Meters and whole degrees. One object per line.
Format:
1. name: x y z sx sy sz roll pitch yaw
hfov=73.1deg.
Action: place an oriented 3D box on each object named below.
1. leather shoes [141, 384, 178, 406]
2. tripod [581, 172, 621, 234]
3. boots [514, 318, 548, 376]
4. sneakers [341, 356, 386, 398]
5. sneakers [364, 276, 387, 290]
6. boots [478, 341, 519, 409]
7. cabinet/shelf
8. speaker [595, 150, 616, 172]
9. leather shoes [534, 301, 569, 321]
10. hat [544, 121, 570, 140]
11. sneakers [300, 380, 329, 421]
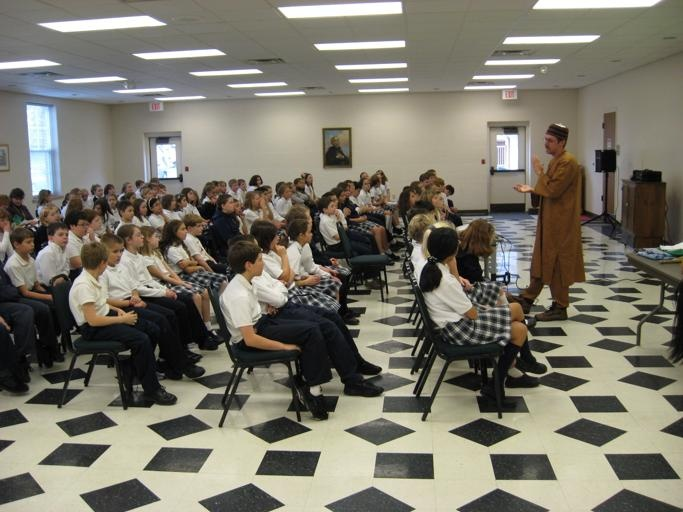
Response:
1. leather shoes: -1.427 1.101 3.664 0.279 0.111 0.119 1 5 2
2. tripod: 6.506 -1.380 11.438 0.788 1.386 2.639 4 12 28
3. boots: 1.596 0.780 3.894 0.276 0.449 0.120 -2 12 19
4. sneakers: 0.168 0.955 3.661 0.253 0.126 0.361 -3 8 1
5. sneakers: 0.513 0.388 6.686 0.130 0.145 0.373 -3 -1 -39
6. boots: 1.146 0.912 3.393 0.334 0.465 0.137 -10 15 13
7. cabinet/shelf: 5.683 -0.743 8.387 0.731 1.414 1.584 0 3 15
8. speaker: 6.379 -2.284 11.090 0.451 0.559 0.686 4 12 27
9. leather shoes: 2.310 0.628 5.211 0.444 0.253 0.165 0 2 5
10. hat: 2.403 -1.363 5.097 0.190 0.190 0.370 5 12 29
11. sneakers: -0.196 1.046 3.362 0.147 0.336 0.118 -18 -13 -6
